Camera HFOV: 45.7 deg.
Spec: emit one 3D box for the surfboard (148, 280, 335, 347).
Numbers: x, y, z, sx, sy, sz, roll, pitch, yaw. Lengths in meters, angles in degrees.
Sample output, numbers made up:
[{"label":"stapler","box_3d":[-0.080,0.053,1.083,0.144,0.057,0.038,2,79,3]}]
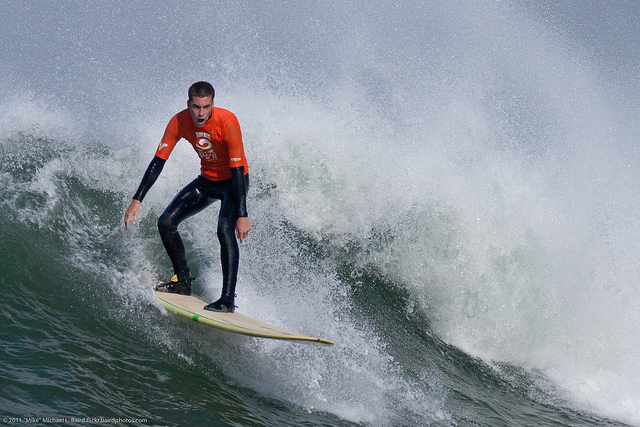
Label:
[{"label":"surfboard","box_3d":[-1.466,1.770,13.076,3.106,0.389,0.613,15,10,40]}]
